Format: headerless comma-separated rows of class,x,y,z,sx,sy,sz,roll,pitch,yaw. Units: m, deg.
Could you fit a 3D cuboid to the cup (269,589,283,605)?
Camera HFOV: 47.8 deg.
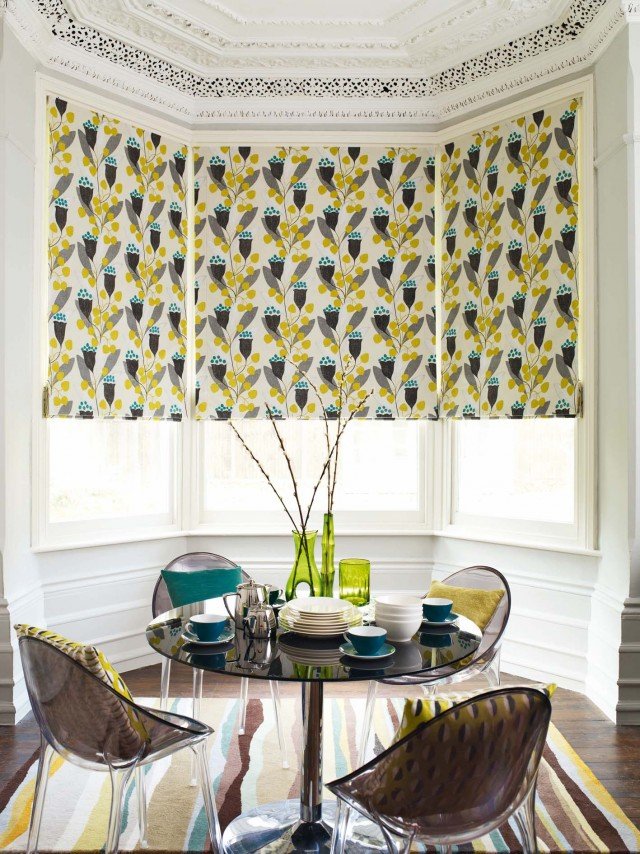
cup,-0.145,0.539,2.315,0.043,0.033,0.035,2,4,12

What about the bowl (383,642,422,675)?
bowl,0.205,0.575,1.792,0.093,0.063,0.102,0,-9,0

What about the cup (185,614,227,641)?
cup,-0.313,0.540,1.957,0.092,0.047,0.078,-2,1,16

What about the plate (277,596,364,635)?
plate,-0.001,0.533,2.026,0.236,0.075,0.169,0,2,22

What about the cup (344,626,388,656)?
cup,0.121,0.548,1.873,0.102,0.081,0.207,-1,1,6

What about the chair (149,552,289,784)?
chair,-0.408,0.921,2.864,0.477,0.732,0.485,0,14,-21

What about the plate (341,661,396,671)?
plate,0.107,0.571,1.727,0.112,0.007,0.084,-1,2,9

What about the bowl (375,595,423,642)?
bowl,0.221,0.530,2.045,0.116,0.092,0.127,0,-5,2
